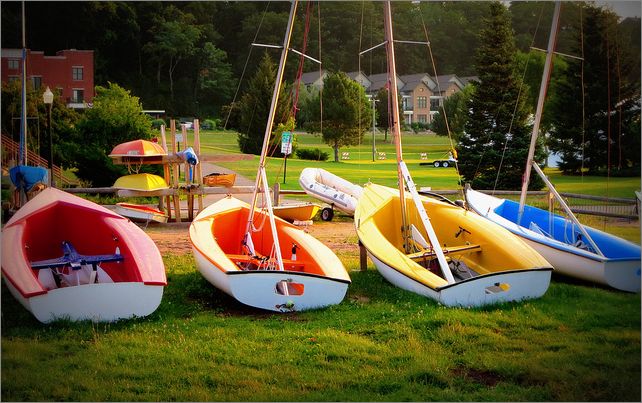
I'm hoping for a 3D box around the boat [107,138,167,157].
[{"bbox_3d":[-7.319,-2.193,27.788,2.057,0.770,1.089,1,6,-15],"label":"boat"}]

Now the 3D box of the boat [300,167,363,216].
[{"bbox_3d":[0.720,-0.509,30.979,3.438,1.380,2.460,13,32,6],"label":"boat"}]

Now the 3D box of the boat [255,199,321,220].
[{"bbox_3d":[-1.162,0.444,28.285,2.216,0.645,0.986,1,14,-7],"label":"boat"}]

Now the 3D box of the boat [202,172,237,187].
[{"bbox_3d":[-4.717,-1.065,32.197,1.263,0.558,0.810,-1,5,-9],"label":"boat"}]

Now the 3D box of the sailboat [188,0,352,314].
[{"bbox_3d":[-1.533,-1.613,20.536,3.245,9.515,4.864,-2,7,-42],"label":"sailboat"}]

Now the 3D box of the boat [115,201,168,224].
[{"bbox_3d":[-7.193,0.429,27.680,1.529,0.478,0.948,14,20,-15],"label":"boat"}]
